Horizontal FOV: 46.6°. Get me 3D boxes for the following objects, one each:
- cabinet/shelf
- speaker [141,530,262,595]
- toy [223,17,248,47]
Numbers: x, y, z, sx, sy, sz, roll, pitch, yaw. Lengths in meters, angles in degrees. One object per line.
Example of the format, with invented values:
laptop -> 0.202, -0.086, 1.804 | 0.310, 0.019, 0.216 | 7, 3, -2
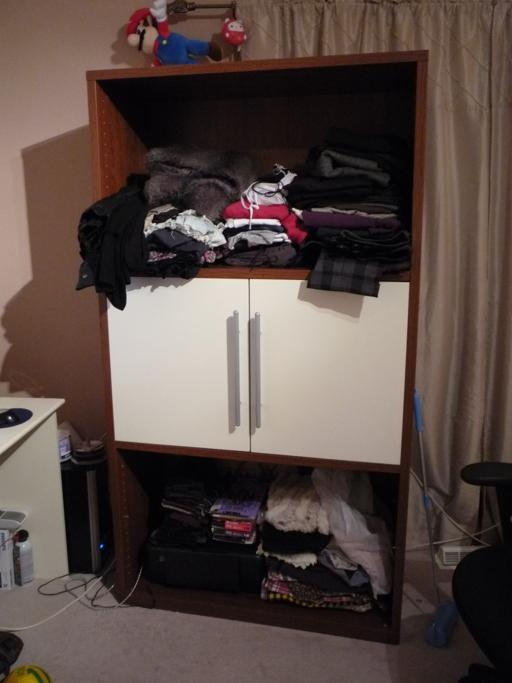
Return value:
cabinet/shelf -> -0.002, 0.334, 2.543 | 1.249, 2.539, 0.774 | 1, 8, 11
speaker -> -0.170, 0.783, 2.467 | 0.572, 0.207, 0.432 | 1, 9, 10
toy -> -0.073, -1.054, 2.050 | 0.074, 0.101, 0.038 | 1, 6, -13
